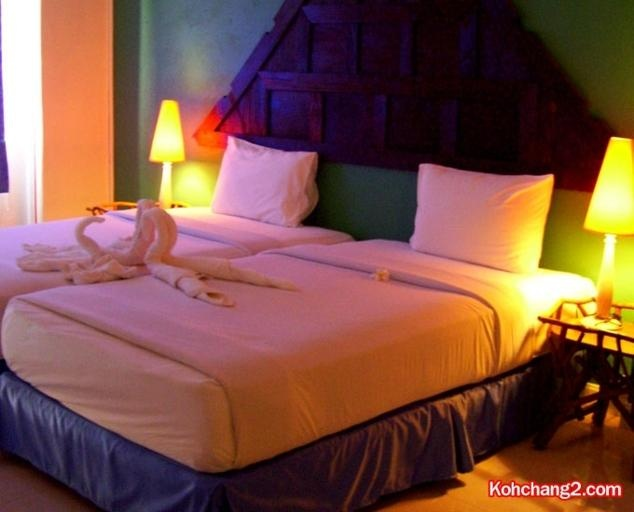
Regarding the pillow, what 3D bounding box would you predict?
[{"bbox_3d":[-0.436,-0.543,4.243,0.797,0.628,0.320,13,3,28],"label":"pillow"}]
